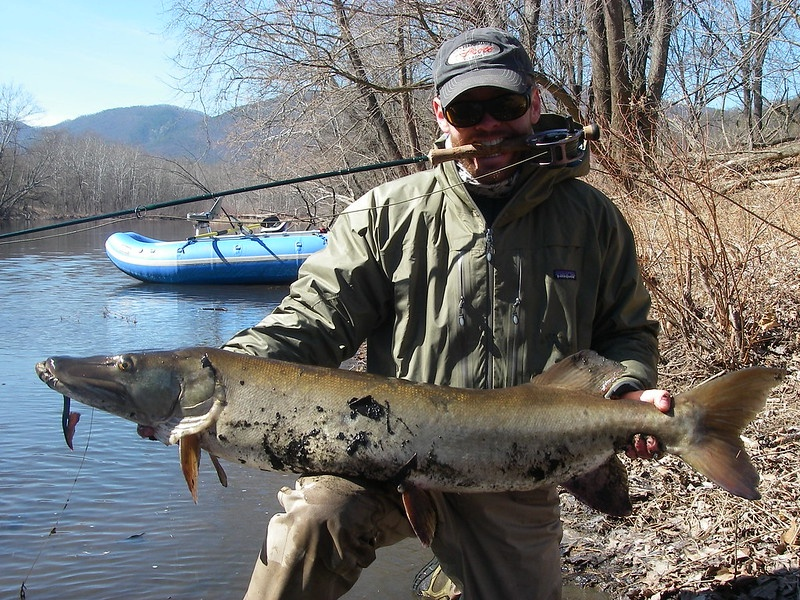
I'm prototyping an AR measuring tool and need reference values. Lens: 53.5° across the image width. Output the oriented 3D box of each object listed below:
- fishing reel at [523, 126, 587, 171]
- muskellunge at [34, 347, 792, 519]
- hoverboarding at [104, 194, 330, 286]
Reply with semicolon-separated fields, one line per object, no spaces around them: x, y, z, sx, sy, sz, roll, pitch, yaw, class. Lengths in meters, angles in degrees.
0.925;-0.914;4.642;0.269;0.096;0.265;-6;28;7;fishing reel
0.086;0.647;4.297;3.681;0.763;0.398;2;8;0;muskellunge
-4.679;-1.155;20.558;6.131;1.969;2.891;0;0;13;hoverboarding
